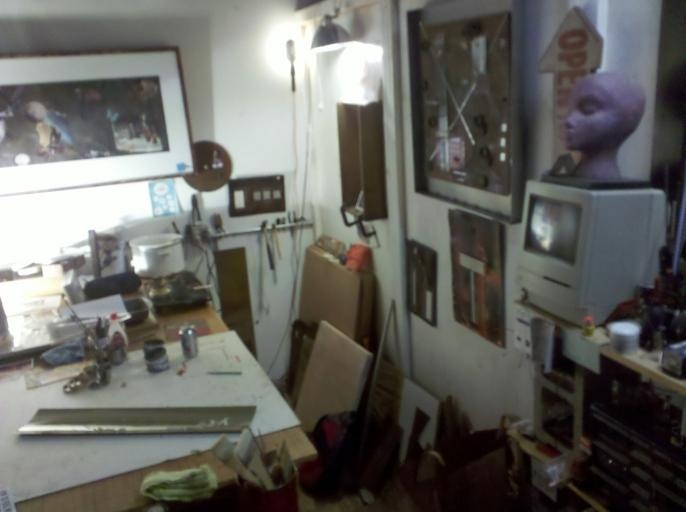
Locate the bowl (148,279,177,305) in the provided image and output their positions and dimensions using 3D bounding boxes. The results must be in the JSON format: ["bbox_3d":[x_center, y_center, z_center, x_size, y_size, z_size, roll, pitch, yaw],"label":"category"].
[{"bbox_3d":[-1.336,0.263,4.073,0.176,0.180,0.177,-1,10,0],"label":"bowl"}]

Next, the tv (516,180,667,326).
[{"bbox_3d":[1.047,-0.023,2.457,0.545,0.609,0.547,1,6,-16],"label":"tv"}]

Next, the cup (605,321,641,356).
[{"bbox_3d":[1.117,0.309,2.181,0.110,0.110,0.123,-7,18,-1],"label":"cup"}]

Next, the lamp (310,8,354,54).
[{"bbox_3d":[-0.083,-1.519,3.758,0.280,0.329,0.300,-8,28,-11],"label":"lamp"}]

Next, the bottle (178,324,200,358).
[{"bbox_3d":[-0.984,0.555,3.490,0.102,0.202,0.110,-5,20,2],"label":"bottle"}]

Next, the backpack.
[{"bbox_3d":[-0.054,1.306,3.508,0.437,0.514,0.358,-18,50,-28],"label":"backpack"}]

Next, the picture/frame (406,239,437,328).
[{"bbox_3d":[0.528,0.164,3.652,0.058,0.612,0.453,-10,18,-21],"label":"picture/frame"}]

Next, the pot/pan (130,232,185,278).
[{"bbox_3d":[-1.356,-0.013,4.030,0.337,0.223,0.318,12,19,42],"label":"pot/pan"}]
